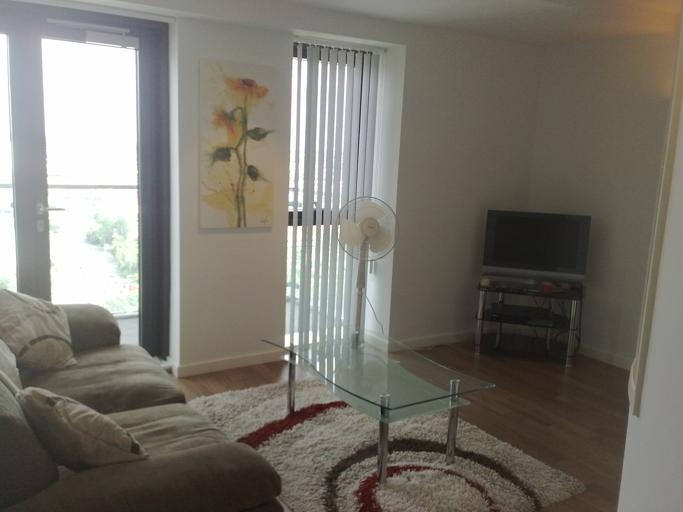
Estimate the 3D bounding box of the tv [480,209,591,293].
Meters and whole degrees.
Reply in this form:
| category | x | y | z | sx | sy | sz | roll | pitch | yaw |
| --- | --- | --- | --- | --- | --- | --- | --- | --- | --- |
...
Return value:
| category | x | y | z | sx | sy | sz | roll | pitch | yaw |
| --- | --- | --- | --- | --- | --- | --- | --- | --- | --- |
| tv | 1.690 | -0.046 | 4.782 | 0.669 | 0.508 | 0.079 | 4 | 6 | 22 |

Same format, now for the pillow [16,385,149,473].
| category | x | y | z | sx | sy | sz | roll | pitch | yaw |
| --- | --- | --- | --- | --- | --- | --- | --- | --- | --- |
| pillow | -1.058 | 0.695 | 2.241 | 0.544 | 0.301 | 0.137 | 4 | 9 | 14 |

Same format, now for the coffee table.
| category | x | y | z | sx | sy | sz | roll | pitch | yaw |
| --- | --- | --- | --- | --- | --- | --- | --- | --- | --- |
| coffee table | 0.313 | 0.731 | 3.378 | 0.759 | 0.461 | 1.156 | -9 | 16 | -33 |

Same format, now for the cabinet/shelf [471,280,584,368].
| category | x | y | z | sx | sy | sz | roll | pitch | yaw |
| --- | --- | --- | --- | --- | --- | --- | --- | --- | --- |
| cabinet/shelf | 1.619 | 0.440 | 4.829 | 1.009 | 0.731 | 0.653 | 3 | 6 | 23 |

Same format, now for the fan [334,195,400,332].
| category | x | y | z | sx | sy | sz | roll | pitch | yaw |
| --- | --- | --- | --- | --- | --- | --- | --- | --- | --- |
| fan | 0.167 | 0.055 | 4.264 | 0.446 | 1.024 | 0.986 | 2 | 8 | 3 |
